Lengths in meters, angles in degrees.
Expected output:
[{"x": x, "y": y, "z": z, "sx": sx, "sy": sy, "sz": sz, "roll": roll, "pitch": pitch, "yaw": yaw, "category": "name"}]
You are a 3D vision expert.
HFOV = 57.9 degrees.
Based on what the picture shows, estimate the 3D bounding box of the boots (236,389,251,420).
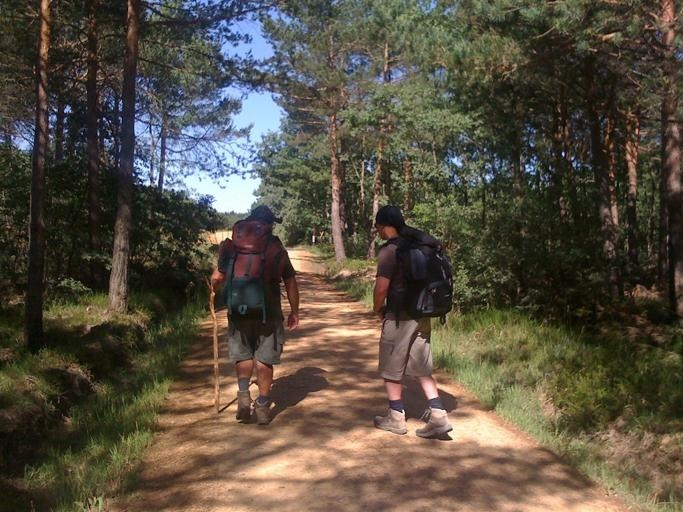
[{"x": -1.560, "y": 2.423, "z": 9.824, "sx": 0.239, "sy": 0.564, "sz": 0.214, "roll": -3, "pitch": 14, "yaw": -11, "category": "boots"}]

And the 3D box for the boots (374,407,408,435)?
[{"x": 0.801, "y": 2.580, "z": 9.689, "sx": 0.606, "sy": 0.432, "sz": 0.258, "roll": 3, "pitch": -3, "yaw": 39, "category": "boots"}]

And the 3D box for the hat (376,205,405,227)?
[{"x": 0.753, "y": -0.616, "z": 9.471, "sx": 0.275, "sy": 0.376, "sz": 0.399, "roll": -4, "pitch": 8, "yaw": -20, "category": "hat"}]
